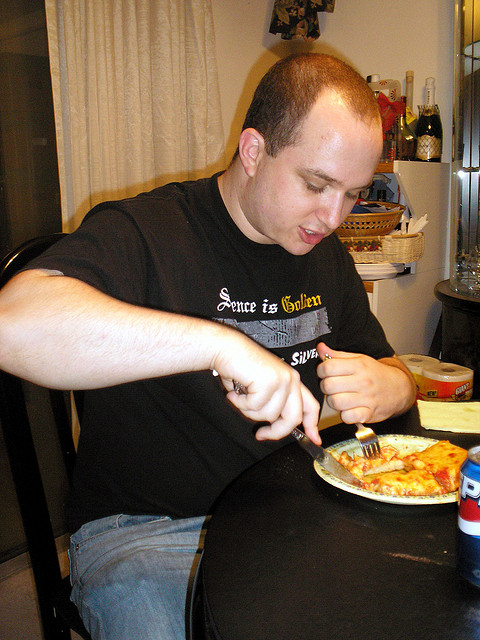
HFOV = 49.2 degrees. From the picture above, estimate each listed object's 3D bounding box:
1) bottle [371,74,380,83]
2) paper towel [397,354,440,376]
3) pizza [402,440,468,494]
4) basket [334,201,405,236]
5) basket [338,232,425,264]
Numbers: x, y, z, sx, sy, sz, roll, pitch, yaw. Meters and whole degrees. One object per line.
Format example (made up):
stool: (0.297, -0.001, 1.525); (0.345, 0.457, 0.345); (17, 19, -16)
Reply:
bottle: (0.620, -1.107, 2.402); (0.037, 0.028, 0.037); (-10, 32, 6)
paper towel: (0.549, 0.129, 1.631); (0.118, 0.038, 0.124); (0, 15, -14)
pizza: (0.283, 0.201, 0.770); (0.095, 0.092, 0.027); (0, 30, 18)
basket: (0.495, -0.369, 1.979); (0.265, 0.107, 0.144); (-3, 9, 0)
basket: (0.538, -0.309, 2.068); (0.406, 0.141, 0.369); (-5, 11, -30)
